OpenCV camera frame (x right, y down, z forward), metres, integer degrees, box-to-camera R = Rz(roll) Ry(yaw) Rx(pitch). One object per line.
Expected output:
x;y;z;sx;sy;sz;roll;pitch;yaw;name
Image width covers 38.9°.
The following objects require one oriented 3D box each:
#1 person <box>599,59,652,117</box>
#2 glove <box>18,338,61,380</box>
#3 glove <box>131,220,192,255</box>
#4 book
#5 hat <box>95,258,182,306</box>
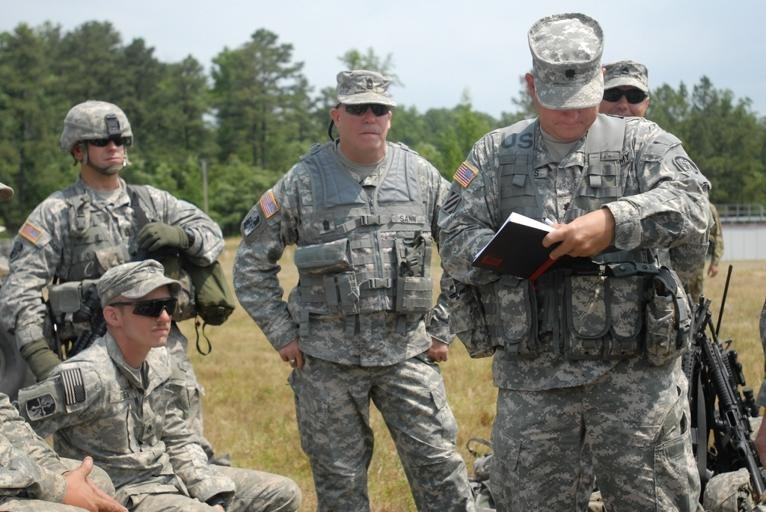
2.492;-1.662;11.253;0.547;0.667;0.772;6;0;21;person
-2.991;0.878;9.475;0.368;0.278;0.242;49;14;24;glove
-1.985;-0.161;9.849;0.489;0.262;0.218;0;1;-14;glove
1.115;0.007;8.318;0.624;0.170;0.625;21;-41;-18;book
-2.062;0.215;9.044;0.549;0.233;0.388;-11;-6;23;hat
